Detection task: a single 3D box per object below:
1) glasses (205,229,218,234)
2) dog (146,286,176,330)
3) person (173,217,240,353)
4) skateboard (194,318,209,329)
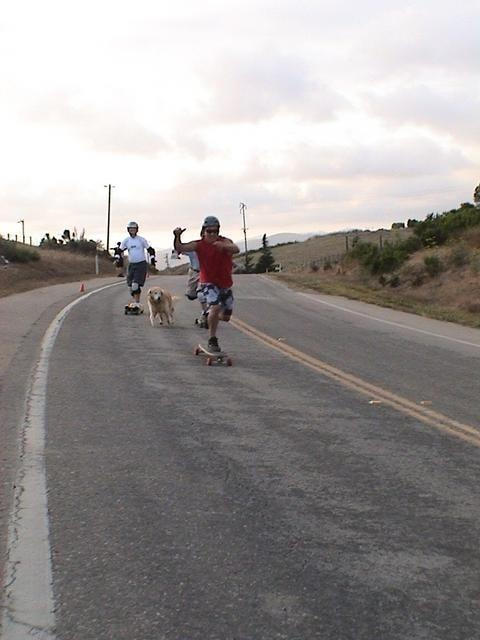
[{"bbox_3d":[-0.402,-1.249,8.400,0.179,0.079,0.073,3,6,10],"label":"glasses"},{"bbox_3d":[-1.739,-0.309,13.327,0.531,0.850,1.738,1,6,-5],"label":"dog"},{"bbox_3d":[-0.472,-0.454,8.631,0.859,2.031,1.529,2,6,1],"label":"person"},{"bbox_3d":[-0.826,0.094,13.072,0.141,0.179,0.455,-1,-2,-25],"label":"skateboard"}]
